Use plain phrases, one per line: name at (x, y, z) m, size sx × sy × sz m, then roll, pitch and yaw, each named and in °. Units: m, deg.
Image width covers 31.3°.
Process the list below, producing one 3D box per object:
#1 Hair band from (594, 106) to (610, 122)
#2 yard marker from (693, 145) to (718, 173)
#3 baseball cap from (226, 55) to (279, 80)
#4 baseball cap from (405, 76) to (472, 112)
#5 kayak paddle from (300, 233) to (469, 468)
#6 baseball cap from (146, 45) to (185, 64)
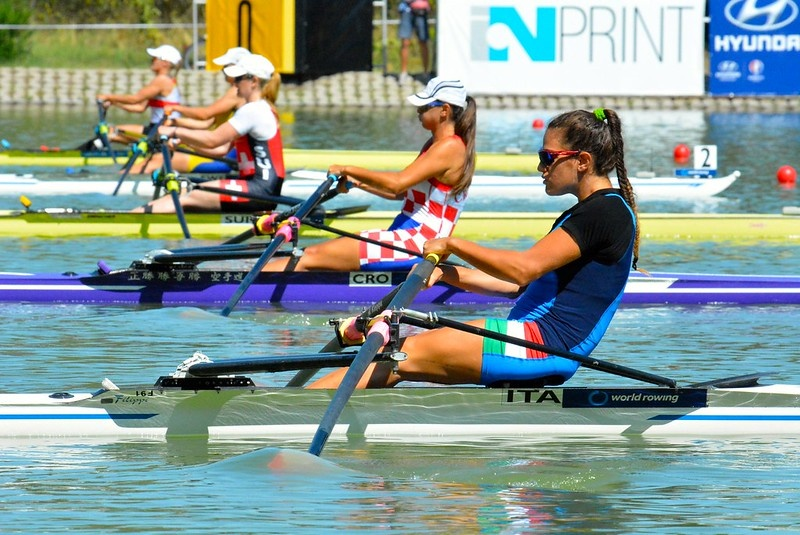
Hair band at (1.525, -1.164, 10.956) m, size 0.106 × 0.114 × 0.115 m, roll -1°, pitch 4°, yaw -24°
yard marker at (4.125, -1.470, 19.303) m, size 0.468 × 0.338 × 0.389 m, roll 0°, pitch 1°, yaw 4°
baseball cap at (-1.597, -2.121, 15.168) m, size 0.492 × 0.140 × 0.264 m, roll 1°, pitch 14°, yaw -10°
baseball cap at (0.351, -1.566, 12.758) m, size 0.488 × 0.164 × 0.267 m, roll 3°, pitch 0°, yaw -6°
kayak paddle at (-0.147, 0.559, 10.791) m, size 0.179 × 0.134 × 2.499 m, roll 29°, pitch 40°, yaw 3°
baseball cap at (-3.164, -2.867, 19.267) m, size 0.538 × 0.166 × 0.293 m, roll 14°, pitch 14°, yaw -11°
